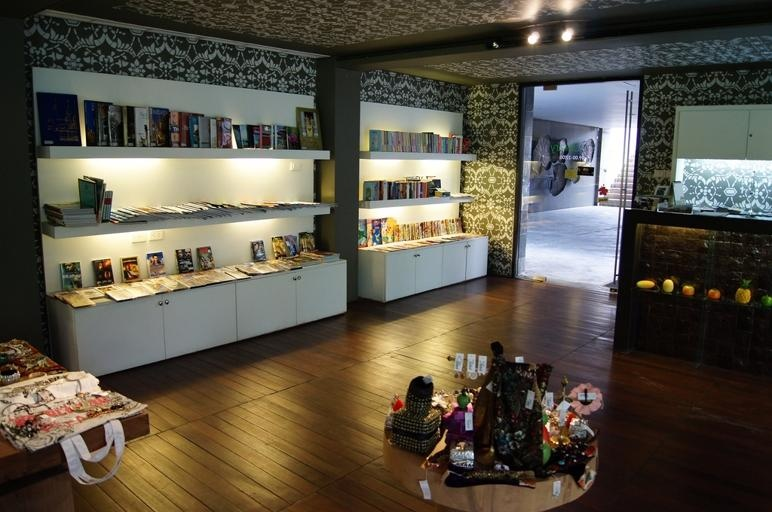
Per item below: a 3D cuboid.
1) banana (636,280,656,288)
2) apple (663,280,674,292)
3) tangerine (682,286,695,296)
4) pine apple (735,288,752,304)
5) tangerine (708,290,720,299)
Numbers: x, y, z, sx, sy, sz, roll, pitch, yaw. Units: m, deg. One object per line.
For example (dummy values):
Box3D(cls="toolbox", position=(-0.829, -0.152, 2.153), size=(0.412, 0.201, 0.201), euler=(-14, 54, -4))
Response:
Box3D(cls="banana", position=(3.468, 0.364, 6.618), size=(0.189, 0.107, 0.101), euler=(-4, 49, 8))
Box3D(cls="apple", position=(3.699, 0.380, 6.492), size=(0.113, 0.130, 0.110), euler=(21, -28, -31))
Box3D(cls="tangerine", position=(3.905, 0.432, 6.415), size=(0.129, 0.113, 0.125), euler=(-1, 0, -11))
Box3D(cls="pine apple", position=(4.410, 0.481, 6.116), size=(0.183, 0.250, 0.178), euler=(1, -2, 42))
Box3D(cls="tangerine", position=(4.158, 0.468, 6.293), size=(0.117, 0.105, 0.113), euler=(-3, 3, -32))
